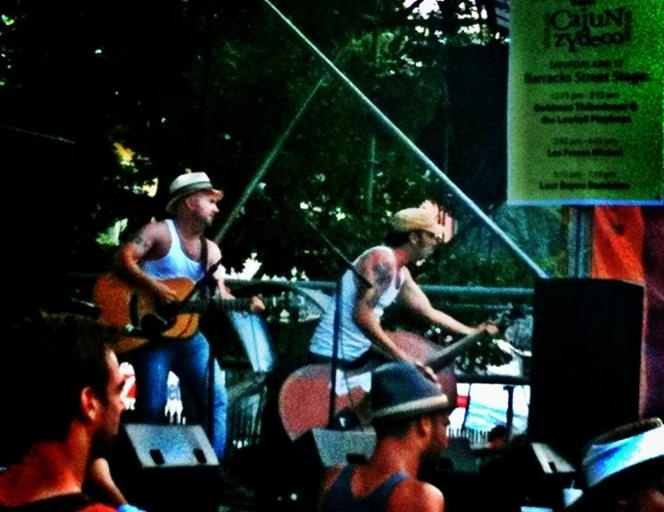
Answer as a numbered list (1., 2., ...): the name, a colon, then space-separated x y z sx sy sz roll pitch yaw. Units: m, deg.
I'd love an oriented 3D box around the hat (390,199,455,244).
1. hat: 0.499 -0.189 4.598 0.283 0.228 0.182 6 -16 -21
